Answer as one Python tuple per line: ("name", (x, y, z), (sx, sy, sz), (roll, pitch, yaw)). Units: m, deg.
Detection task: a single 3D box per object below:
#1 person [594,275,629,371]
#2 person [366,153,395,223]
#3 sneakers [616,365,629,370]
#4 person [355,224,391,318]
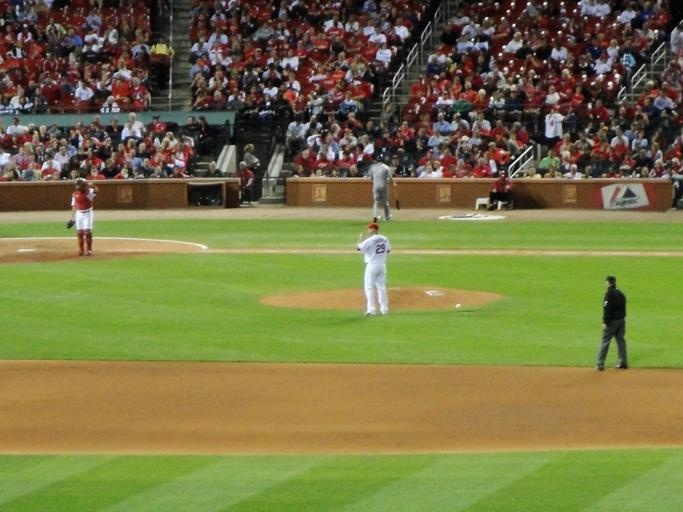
("person", (6.065, 1.451, 37.842), (0.597, 2.137, 0.647), (1, 4, 26))
("person", (1.290, -2.100, 54.115), (1.111, 2.205, 0.913), (3, 13, -2))
("sneakers", (6.289, 2.465, 37.857), (0.238, 0.095, 0.081), (2, 7, 9))
("person", (0.785, 0.247, 41.364), (0.981, 2.251, 0.754), (-1, 0, -34))
